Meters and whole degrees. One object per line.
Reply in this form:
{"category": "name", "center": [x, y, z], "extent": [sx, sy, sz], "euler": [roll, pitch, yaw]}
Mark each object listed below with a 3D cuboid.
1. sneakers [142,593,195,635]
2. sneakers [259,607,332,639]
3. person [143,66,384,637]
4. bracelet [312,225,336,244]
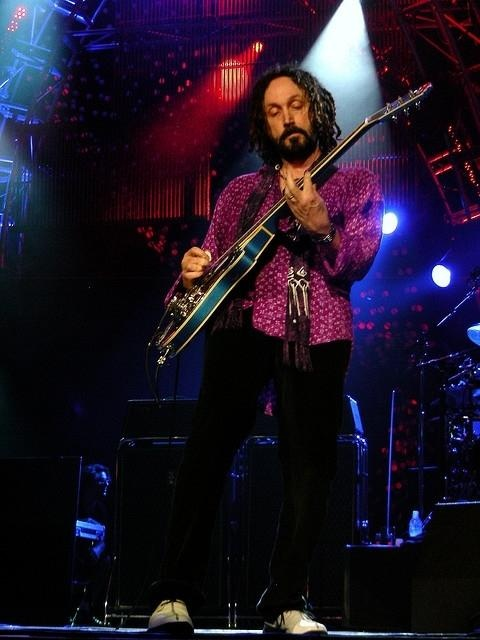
{"category": "sneakers", "center": [-0.158, 0.684, 1.419], "extent": [0.101, 0.061, 0.188], "euler": [2, -15, -6]}
{"category": "sneakers", "center": [0.126, 0.734, 1.503], "extent": [0.188, 0.095, 0.080], "euler": [-20, -35, 35]}
{"category": "person", "center": [0.099, -0.068, 1.746], "extent": [0.635, 1.758, 0.631], "euler": [3, -13, -9]}
{"category": "bracelet", "center": [0.230, -0.229, 1.630], "extent": [0.039, 0.021, 0.048], "euler": [-25, 10, 2]}
